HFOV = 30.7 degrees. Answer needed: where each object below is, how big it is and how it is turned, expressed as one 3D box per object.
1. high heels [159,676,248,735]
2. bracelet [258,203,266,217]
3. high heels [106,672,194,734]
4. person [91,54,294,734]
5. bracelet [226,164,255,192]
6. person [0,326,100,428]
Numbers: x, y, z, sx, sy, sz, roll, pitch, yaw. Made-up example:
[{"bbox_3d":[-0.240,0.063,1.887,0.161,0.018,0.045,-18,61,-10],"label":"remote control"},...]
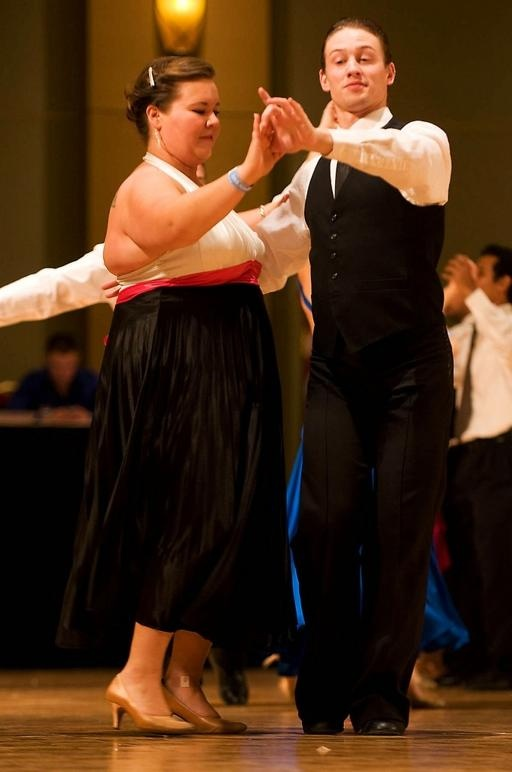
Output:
[{"bbox_3d":[-0.116,0.670,1.933,0.194,0.090,0.066,5,-19,19],"label":"high heels"},{"bbox_3d":[0.017,-0.444,2.361,0.020,0.027,0.026,-1,-23,1],"label":"bracelet"},{"bbox_3d":[-0.212,0.643,1.865,0.188,0.117,0.066,-1,-17,18],"label":"high heels"},{"bbox_3d":[-0.101,0.009,2.015,0.408,1.427,0.436,0,-4,5],"label":"person"},{"bbox_3d":[-0.039,-0.402,1.803,0.036,0.051,0.019,3,-21,-24],"label":"bracelet"},{"bbox_3d":[-1.137,-0.047,5.162,0.475,0.902,0.268,0,-25,-4],"label":"person"}]
